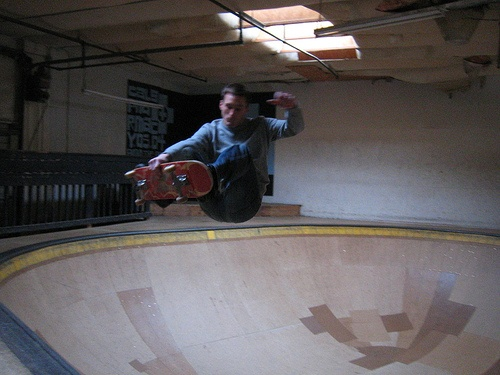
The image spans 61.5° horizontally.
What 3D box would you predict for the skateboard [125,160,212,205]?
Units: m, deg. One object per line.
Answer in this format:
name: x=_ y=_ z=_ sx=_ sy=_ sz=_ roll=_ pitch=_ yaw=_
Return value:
skateboard: x=-0.887 y=0.017 z=4.434 sx=0.427 sy=0.136 sz=0.971 roll=15 pitch=-33 yaw=-28
